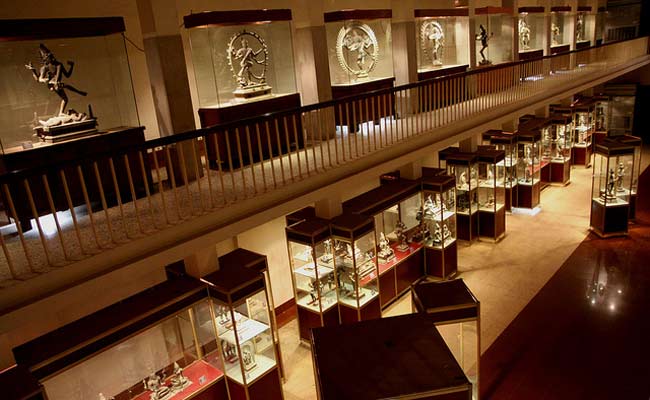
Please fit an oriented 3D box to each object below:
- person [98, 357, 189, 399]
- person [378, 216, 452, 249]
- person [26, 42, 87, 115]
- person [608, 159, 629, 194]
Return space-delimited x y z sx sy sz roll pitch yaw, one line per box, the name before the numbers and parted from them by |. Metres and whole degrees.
person | -3.300 3.519 8.642 1.388 0.535 0.247 -17 23 -28
person | 2.436 0.942 12.607 1.221 0.276 1.103 -8 11 -34
person | -5.062 -2.332 8.608 0.853 1.291 0.281 -18 23 -28
person | 8.603 -0.687 13.359 0.677 1.058 0.228 -11 20 -12
